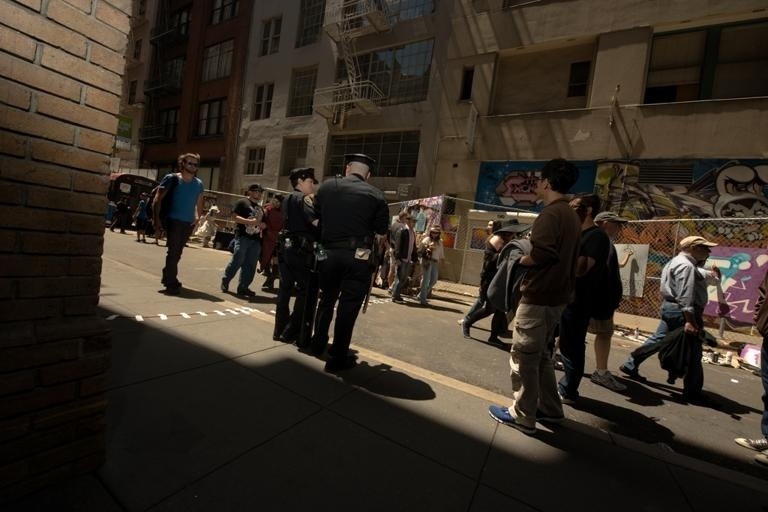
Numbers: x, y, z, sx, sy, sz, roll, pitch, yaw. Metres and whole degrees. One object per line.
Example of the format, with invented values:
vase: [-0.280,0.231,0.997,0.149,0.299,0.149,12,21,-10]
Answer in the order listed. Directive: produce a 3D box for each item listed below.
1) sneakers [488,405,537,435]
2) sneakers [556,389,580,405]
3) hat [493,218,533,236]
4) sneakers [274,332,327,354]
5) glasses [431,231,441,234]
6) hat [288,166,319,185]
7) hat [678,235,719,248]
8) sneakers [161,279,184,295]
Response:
sneakers: [1.246,1.625,4.371,0.477,0.186,0.169,23,6,28]
sneakers: [2.169,1.634,5.150,0.216,0.176,0.136,12,11,13]
hat: [1.563,-0.378,5.630,0.664,0.210,0.491,-3,3,14]
sneakers: [-1.017,1.070,5.362,0.433,0.165,0.129,20,-9,15]
glasses: [1.287,-0.585,11.174,0.143,0.037,0.140,-3,-7,-37]
hat: [-1.149,-1.105,6.199,0.329,0.290,0.469,7,11,-10]
hat: [5.309,-0.240,7.411,0.611,0.216,0.396,1,2,25]
sneakers: [-3.477,0.502,7.123,0.428,0.180,0.154,4,5,29]
